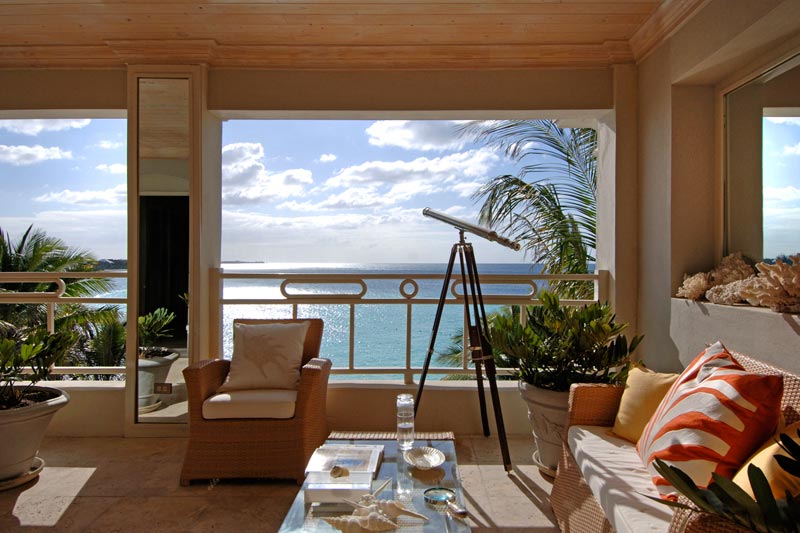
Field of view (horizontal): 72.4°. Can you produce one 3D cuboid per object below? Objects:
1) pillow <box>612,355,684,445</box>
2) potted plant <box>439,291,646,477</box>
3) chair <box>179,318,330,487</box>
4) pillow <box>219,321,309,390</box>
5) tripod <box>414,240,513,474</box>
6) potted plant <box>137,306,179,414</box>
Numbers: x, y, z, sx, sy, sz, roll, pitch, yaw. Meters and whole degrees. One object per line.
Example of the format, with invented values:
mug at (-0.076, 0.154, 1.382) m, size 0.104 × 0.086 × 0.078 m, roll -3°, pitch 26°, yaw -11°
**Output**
pillow at (1.544, 0.859, 3.536) m, size 0.314 × 0.438 × 0.402 m, roll 5°, pitch 11°, yaw 11°
potted plant at (1.297, 0.917, 4.573) m, size 1.307 × 1.419 × 1.321 m, roll -5°, pitch -10°, yaw 39°
chair at (-0.997, 1.075, 4.082) m, size 0.938 × 1.143 × 0.980 m, roll -1°, pitch -30°, yaw -1°
pillow at (-1.056, 0.718, 4.342) m, size 0.676 × 0.513 × 0.485 m, roll 0°, pitch -2°, yaw 1°
tripod at (0.555, 0.701, 4.614) m, size 0.802 × 1.800 × 0.600 m, roll 2°, pitch 5°, yaw 5°
potted plant at (-2.167, 0.814, 4.892) m, size 0.310 × 0.965 × 0.238 m, roll 2°, pitch 8°, yaw -6°
